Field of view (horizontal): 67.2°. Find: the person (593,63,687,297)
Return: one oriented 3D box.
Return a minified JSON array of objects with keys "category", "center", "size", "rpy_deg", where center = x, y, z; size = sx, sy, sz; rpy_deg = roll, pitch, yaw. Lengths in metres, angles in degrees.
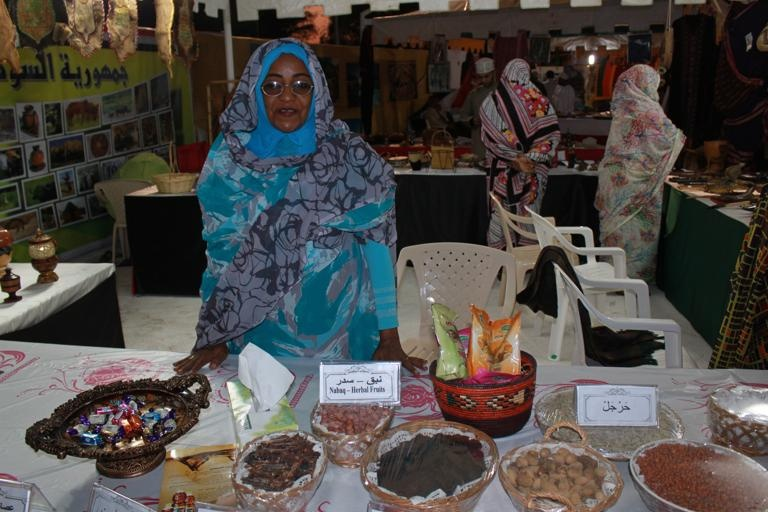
[{"category":"person","center":[2.196,-0.628,5.129],"size":[0.567,1.994,0.683],"rpy_deg":[-11,21,-9]}]

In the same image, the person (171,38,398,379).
[{"category":"person","center":[-0.349,-0.206,2.335],"size":[0.794,1.263,0.472],"rpy_deg":[-1,20,-1]}]

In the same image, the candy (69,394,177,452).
[{"category":"candy","center":[-0.816,0.525,1.824],"size":[0.193,0.070,0.193],"rpy_deg":[4,23,2]}]

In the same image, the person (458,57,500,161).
[{"category":"person","center":[1.317,-2.241,8.096],"size":[0.441,1.887,0.596],"rpy_deg":[0,18,0]}]

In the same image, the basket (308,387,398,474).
[{"category":"basket","center":[-0.100,0.523,1.873],"size":[0.241,0.192,0.214],"rpy_deg":[-14,22,-40]}]

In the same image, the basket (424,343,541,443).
[{"category":"basket","center":[0.320,0.413,1.944],"size":[0.313,0.224,0.305],"rpy_deg":[-7,17,-31]}]
